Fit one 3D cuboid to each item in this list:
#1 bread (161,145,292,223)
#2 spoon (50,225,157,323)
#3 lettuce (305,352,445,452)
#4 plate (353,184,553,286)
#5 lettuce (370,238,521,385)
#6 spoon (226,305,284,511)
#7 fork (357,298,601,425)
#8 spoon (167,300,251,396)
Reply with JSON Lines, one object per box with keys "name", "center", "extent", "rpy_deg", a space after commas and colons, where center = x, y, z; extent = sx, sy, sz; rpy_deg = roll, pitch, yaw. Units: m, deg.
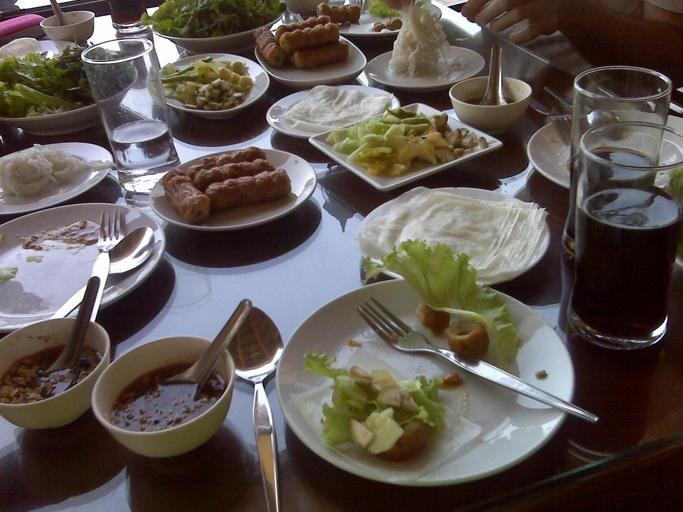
{"name": "bread", "center": [-0.263, -0.167, 1.182], "extent": [0.195, 0.069, 0.201], "rpy_deg": [-20, 28, -15]}
{"name": "spoon", "center": [-0.431, 0.007, 1.017], "extent": [0.067, 0.046, 0.302], "rpy_deg": [15, 46, 14]}
{"name": "lettuce", "center": [0.039, 0.210, 0.733], "extent": [0.210, 0.079, 0.149], "rpy_deg": [7, 24, 22]}
{"name": "plate", "center": [0.251, -0.059, 1.030], "extent": [0.237, 0.036, 0.240], "rpy_deg": [-34, 44, -29]}
{"name": "lettuce", "center": [0.183, 0.072, 0.862], "extent": [0.158, 0.061, 0.311], "rpy_deg": [-20, 36, -25]}
{"name": "spoon", "center": [-0.124, 0.206, 0.747], "extent": [0.062, 0.051, 0.342], "rpy_deg": [-13, 44, 3]}
{"name": "fork", "center": [0.213, 0.163, 0.788], "extent": [0.044, 0.040, 0.331], "rpy_deg": [-33, 42, -31]}
{"name": "spoon", "center": [-0.195, 0.140, 0.782], "extent": [0.057, 0.030, 0.167], "rpy_deg": [19, 68, 15]}
